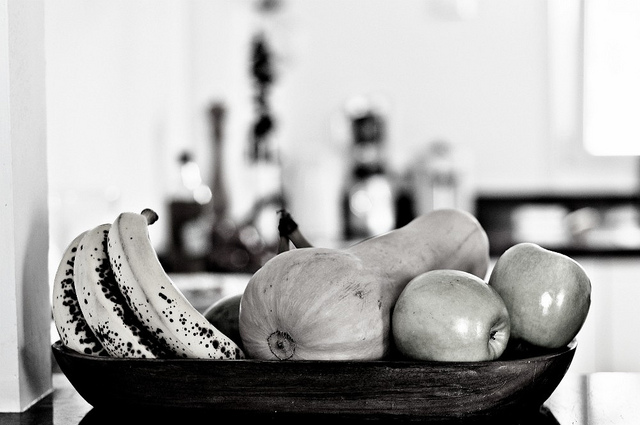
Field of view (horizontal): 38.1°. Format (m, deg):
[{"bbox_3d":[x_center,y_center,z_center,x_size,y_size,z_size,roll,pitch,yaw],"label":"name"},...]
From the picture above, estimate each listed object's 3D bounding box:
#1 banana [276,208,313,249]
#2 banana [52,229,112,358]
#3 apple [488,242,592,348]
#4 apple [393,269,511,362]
[{"bbox_3d":[-0.039,0.035,1.926,0.050,0.041,0.184,35,4,-15],"label":"banana"},{"bbox_3d":[-0.453,0.178,1.722,0.065,0.315,0.100,-9,-11,14],"label":"banana"},{"bbox_3d":[0.410,0.139,1.753,0.158,0.169,0.175,9,-26,48],"label":"apple"},{"bbox_3d":[0.236,0.133,1.598,0.175,0.182,0.162,3,21,1],"label":"apple"}]
